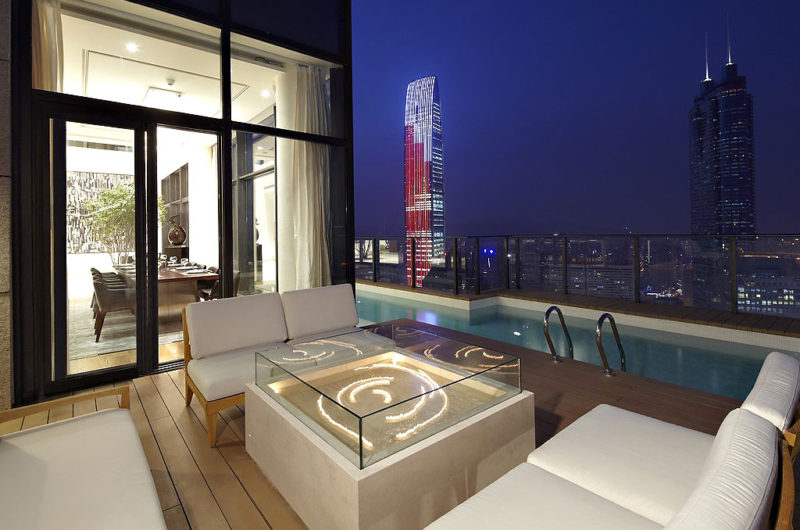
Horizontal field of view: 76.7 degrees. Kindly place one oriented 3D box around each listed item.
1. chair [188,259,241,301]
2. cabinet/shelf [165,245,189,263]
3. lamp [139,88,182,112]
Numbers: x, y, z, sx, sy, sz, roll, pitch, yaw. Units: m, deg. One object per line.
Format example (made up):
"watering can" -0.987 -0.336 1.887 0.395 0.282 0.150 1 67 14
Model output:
"chair" -2.173 0.214 5.955 0.417 0.481 0.382 3 0 -39
"cabinet/shelf" -2.512 -0.126 5.699 0.180 0.175 0.190 0 1 16
"lamp" -2.619 -1.837 5.554 0.408 0.246 0.068 -5 6 -21
